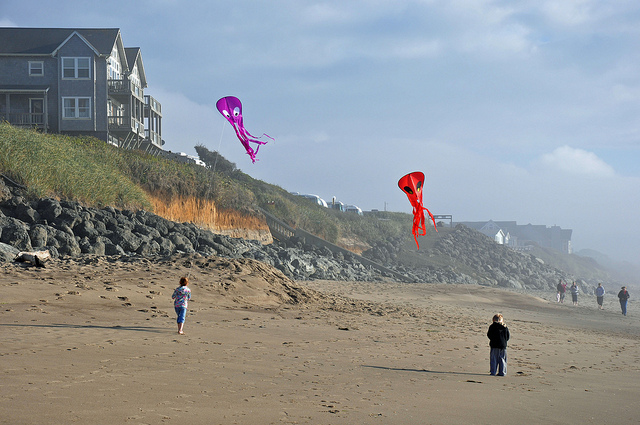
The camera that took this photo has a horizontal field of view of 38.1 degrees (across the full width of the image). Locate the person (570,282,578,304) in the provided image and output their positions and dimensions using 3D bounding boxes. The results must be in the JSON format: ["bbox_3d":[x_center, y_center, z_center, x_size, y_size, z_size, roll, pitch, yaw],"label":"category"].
[{"bbox_3d":[14.199,4.655,52.142,0.346,1.201,0.668,9,2,10],"label":"person"}]

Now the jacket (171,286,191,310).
[{"bbox_3d":[-5.214,3.276,34.801,0.608,0.784,1.323,8,2,-5],"label":"jacket"}]

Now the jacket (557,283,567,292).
[{"bbox_3d":[13.837,4.504,53.518,0.534,0.706,0.282,-3,-7,10],"label":"jacket"}]

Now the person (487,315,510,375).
[{"bbox_3d":[6.341,4.861,33.330,0.811,2.130,0.621,9,2,11],"label":"person"}]

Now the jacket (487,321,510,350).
[{"bbox_3d":[6.415,4.563,33.634,0.990,1.109,0.879,1,-5,3],"label":"jacket"}]

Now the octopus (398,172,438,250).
[{"bbox_3d":[4.180,-0.167,40.519,1.607,3.234,1.374,-18,14,-7],"label":"octopus"}]

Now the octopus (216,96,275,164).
[{"bbox_3d":[-3.625,-3.662,42.163,1.493,3.439,0.904,-26,41,2],"label":"octopus"}]

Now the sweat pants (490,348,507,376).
[{"bbox_3d":[6.345,5.441,33.219,0.649,0.984,0.410,9,2,12],"label":"sweat pants"}]
